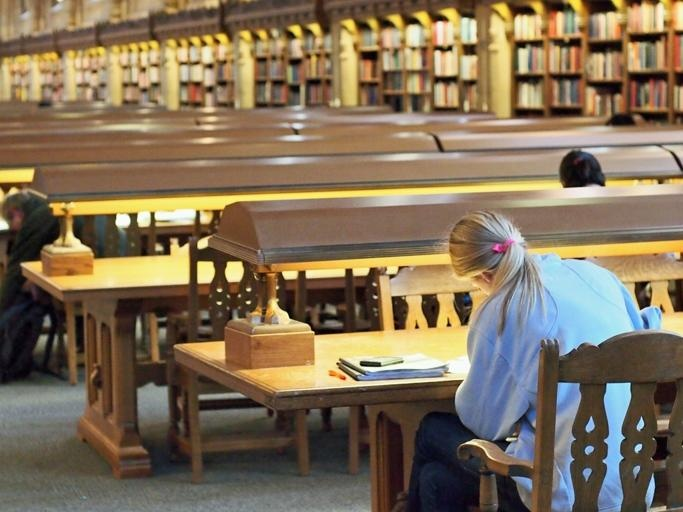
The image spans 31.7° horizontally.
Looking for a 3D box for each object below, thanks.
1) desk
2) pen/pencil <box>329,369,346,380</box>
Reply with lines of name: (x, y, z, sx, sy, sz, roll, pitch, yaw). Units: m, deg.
desk: (-1.103, 0.479, 7.089, 1.892, 1.346, 1.029, -2, 5, -29)
pen/pencil: (-0.016, 0.501, 5.174, 0.072, 0.023, 0.030, 16, 29, 41)
